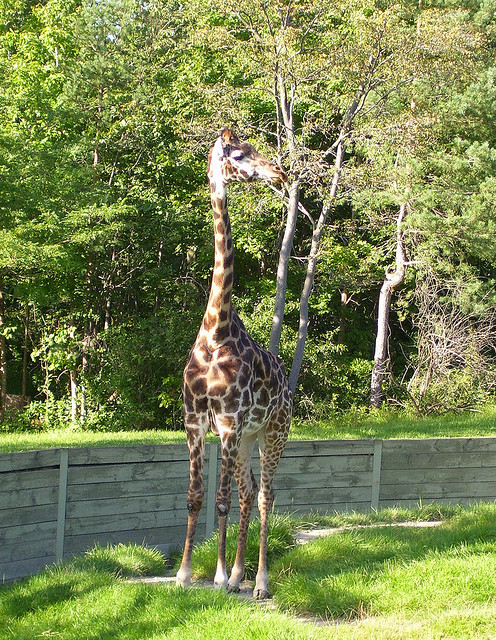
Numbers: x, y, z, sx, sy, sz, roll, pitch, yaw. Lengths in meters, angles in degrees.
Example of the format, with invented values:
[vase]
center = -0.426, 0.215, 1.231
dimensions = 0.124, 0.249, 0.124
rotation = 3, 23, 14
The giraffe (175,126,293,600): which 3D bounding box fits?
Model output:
[giraffe]
center = -0.074, 0.294, 7.442
dimensions = 0.879, 3.867, 1.497
rotation = 2, -5, 2
